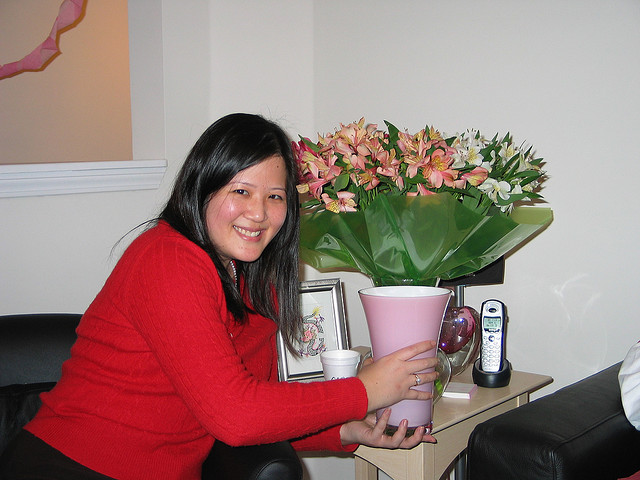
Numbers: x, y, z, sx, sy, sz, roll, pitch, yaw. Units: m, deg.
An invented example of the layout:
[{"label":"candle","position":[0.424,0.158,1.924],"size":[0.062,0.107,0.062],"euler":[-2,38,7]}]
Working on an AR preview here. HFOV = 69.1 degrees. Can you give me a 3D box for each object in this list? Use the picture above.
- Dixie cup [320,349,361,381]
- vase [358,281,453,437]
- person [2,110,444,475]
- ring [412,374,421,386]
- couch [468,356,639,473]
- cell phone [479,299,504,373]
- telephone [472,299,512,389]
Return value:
[{"label":"Dixie cup","position":[0.055,0.317,1.204],"size":[0.080,0.067,0.078],"euler":[-2,3,0]},{"label":"vase","position":[0.208,0.289,1.141],"size":[0.198,0.339,0.206],"euler":[-1,-2,-37]},{"label":"person","position":[-0.355,0.000,1.727],"size":[1.142,1.848,0.748],"euler":[1,13,-2]},{"label":"ring","position":[0.219,0.309,1.044],"size":[0.005,0.016,0.013],"euler":[-10,17,-33]},{"label":"couch","position":[0.634,0.491,1.174],"size":[0.513,0.164,0.187],"euler":[-5,8,-24]},{"label":"cell phone","position":[0.554,0.309,1.503],"size":[0.077,0.295,0.033],"euler":[0,28,18]},{"label":"telephone","position":[0.562,0.330,1.507],"size":[0.109,0.276,0.111],"euler":[1,2,29]}]
